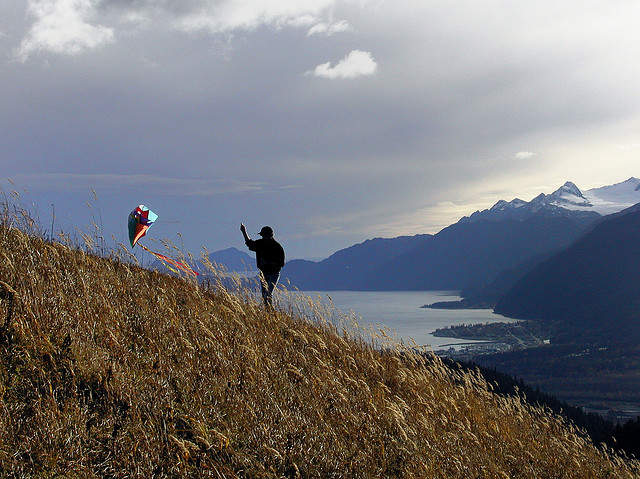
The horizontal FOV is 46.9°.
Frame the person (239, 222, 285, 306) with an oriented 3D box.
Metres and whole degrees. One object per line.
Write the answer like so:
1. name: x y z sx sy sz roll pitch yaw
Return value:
1. person: -1.307 0.488 17.589 0.926 1.629 1.283 2 -1 -2
